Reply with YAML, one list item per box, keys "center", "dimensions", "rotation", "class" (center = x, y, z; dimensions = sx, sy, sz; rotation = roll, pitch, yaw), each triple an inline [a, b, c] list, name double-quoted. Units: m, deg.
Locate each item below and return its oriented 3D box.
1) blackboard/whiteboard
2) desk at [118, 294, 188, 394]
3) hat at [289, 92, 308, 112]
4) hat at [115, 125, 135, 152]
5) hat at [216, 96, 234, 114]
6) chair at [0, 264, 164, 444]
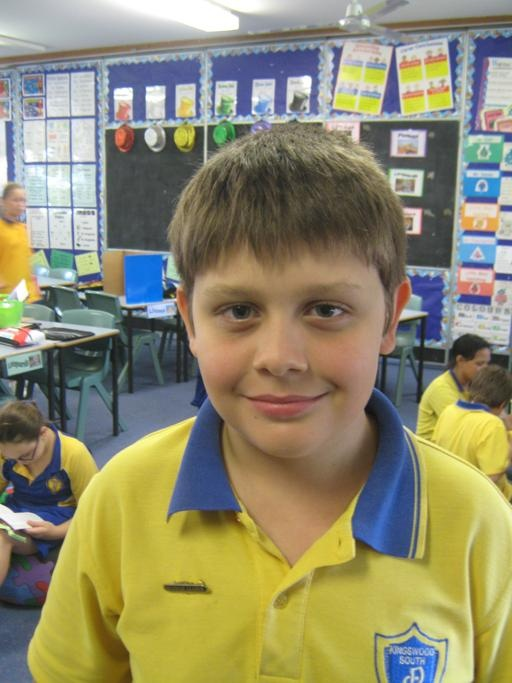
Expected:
- center: [0.597, -1.330, 5.184]
  dimensions: [3.821, 1.520, 0.035]
  rotation: [-10, 14, -36]
  class: "blackboard/whiteboard"
- center: [-0.864, 0.047, 4.978]
  dimensions: [0.597, 0.704, 0.790]
  rotation: [-8, 14, -35]
  class: "desk"
- center: [0.423, -2.411, 5.993]
  dimensions: [0.180, 0.206, 0.186]
  rotation: [10, 25, 15]
  class: "hat"
- center: [-1.511, -2.343, 6.899]
  dimensions: [0.295, 0.286, 0.082]
  rotation: [20, 24, 28]
  class: "hat"
- center: [-0.340, -2.521, 6.344]
  dimensions: [0.175, 0.170, 0.172]
  rotation: [5, 27, 2]
  class: "hat"
- center: [-1.254, 0.026, 4.062]
  dimensions: [1.035, 0.915, 0.777]
  rotation: [8, 13, 39]
  class: "chair"
